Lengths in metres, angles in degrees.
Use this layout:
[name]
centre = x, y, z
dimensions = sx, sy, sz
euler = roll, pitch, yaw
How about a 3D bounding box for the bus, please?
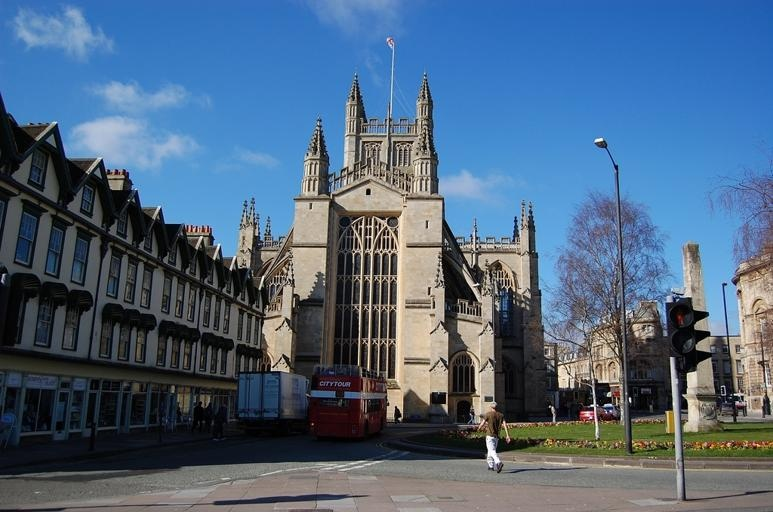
[bus]
centre = -2.242, 8.480, 43.559
dimensions = 3.853, 3.917, 10.246
euler = -1, -6, 7
